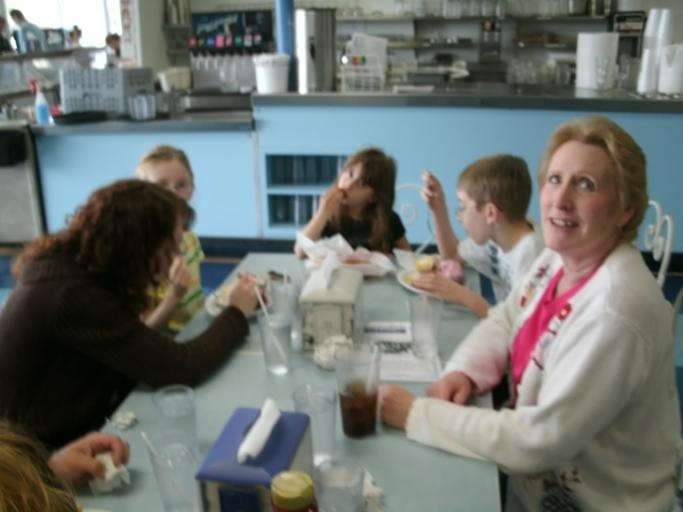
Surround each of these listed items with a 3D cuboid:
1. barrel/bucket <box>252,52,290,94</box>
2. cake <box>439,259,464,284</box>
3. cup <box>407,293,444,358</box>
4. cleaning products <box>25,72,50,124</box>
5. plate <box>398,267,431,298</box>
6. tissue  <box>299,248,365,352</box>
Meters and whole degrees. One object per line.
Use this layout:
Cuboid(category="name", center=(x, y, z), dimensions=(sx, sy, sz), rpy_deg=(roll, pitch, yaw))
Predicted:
Cuboid(category="barrel/bucket", center=(-0.466, -1.213, 3.914), dimensions=(0.247, 0.231, 0.268), rpy_deg=(0, 15, 0))
Cuboid(category="cake", center=(0.401, 0.059, 2.134), dimensions=(0.068, 0.084, 0.095), rpy_deg=(3, 7, 18))
Cuboid(category="cup", center=(0.236, 0.198, 1.710), dimensions=(0.122, 0.210, 0.128), rpy_deg=(-3, 14, 1))
Cuboid(category="cleaning products", center=(-2.467, -1.269, 4.768), dimensions=(0.120, 0.420, 1.414), rpy_deg=(-9, 15, -25))
Cuboid(category="plate", center=(0.251, 0.094, 2.090), dimensions=(0.082, 0.018, 0.081), rpy_deg=(19, 28, 0))
Cuboid(category="tissue ", center=(-0.004, 0.150, 1.738), dimensions=(0.155, 0.204, 0.224), rpy_deg=(0, 16, 7))
